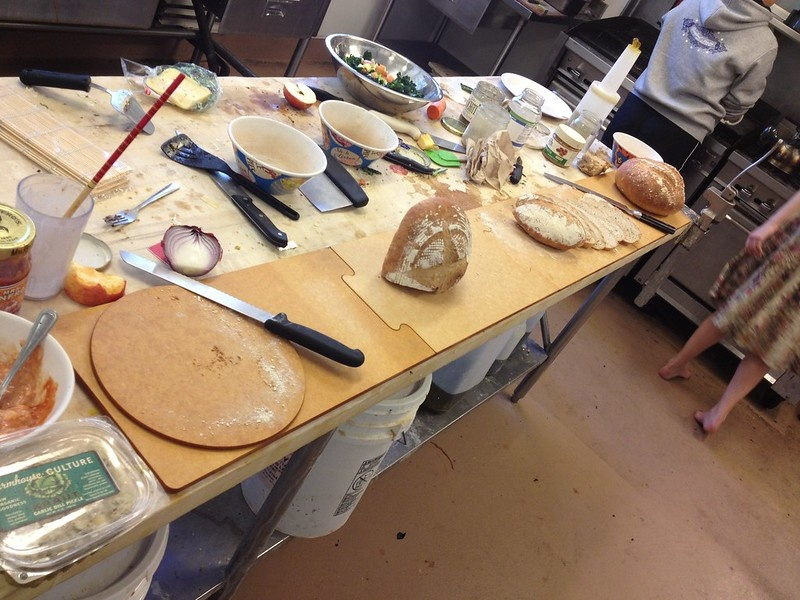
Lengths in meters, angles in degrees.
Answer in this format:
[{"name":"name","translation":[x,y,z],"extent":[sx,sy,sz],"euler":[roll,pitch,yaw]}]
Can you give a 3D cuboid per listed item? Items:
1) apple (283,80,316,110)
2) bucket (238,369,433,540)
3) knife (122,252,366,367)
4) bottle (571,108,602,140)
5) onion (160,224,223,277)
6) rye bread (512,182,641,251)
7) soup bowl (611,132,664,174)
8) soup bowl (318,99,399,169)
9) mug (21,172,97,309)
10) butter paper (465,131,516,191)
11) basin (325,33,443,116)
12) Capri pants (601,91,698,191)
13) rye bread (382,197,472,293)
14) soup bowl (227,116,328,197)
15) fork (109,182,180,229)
[{"name":"apple","translation":[-0.301,-0.597,1.615],"extent":[0.099,0.047,0.102],"euler":[20,35,-17]},{"name":"bucket","translation":[-0.201,0.360,1.483],"extent":[0.343,0.505,0.338],"euler":[24,23,-11]},{"name":"knife","translation":[-0.296,0.024,0.986],"extent":[0.390,0.029,0.057],"euler":[25,30,0]},{"name":"bottle","translation":[0.702,-0.649,2.037],"extent":[0.106,0.078,0.105],"euler":[21,35,-16]},{"name":"onion","translation":[-0.406,-0.080,1.058],"extent":[0.121,0.127,0.091],"euler":[8,67,-30]},{"name":"rye bread","translation":[0.520,-0.206,1.602],"extent":[0.324,0.054,0.247],"euler":[4,37,-37]},{"name":"soup bowl","translation":[0.927,-0.603,2.147],"extent":[0.187,0.114,0.187],"euler":[25,27,-14]},{"name":"soup bowl","translation":[-0.127,-0.418,1.520],"extent":[0.203,0.078,0.201],"euler":[20,39,-17]},{"name":"mug","translation":[-0.552,-0.049,0.903],"extent":[0.092,0.092,0.142],"euler":[19,69,-32]},{"name":"butter paper","translation":[0.280,-0.453,1.725],"extent":[0.186,0.086,0.183],"euler":[12,69,-19]},{"name":"basin","translation":[-0.060,-0.742,1.812],"extent":[0.376,0.122,0.357],"euler":[27,29,-16]},{"name":"Capri pants","translation":[1.378,-0.898,2.945],"extent":[0.550,0.199,0.509],"euler":[20,20,-28]},{"name":"rye bread","translation":[0.071,-0.112,1.201],"extent":[0.171,0.178,0.140],"euler":[27,34,-7]},{"name":"soup bowl","translation":[-0.293,-0.358,1.295],"extent":[0.210,0.087,0.209],"euler":[18,47,-20]},{"name":"fork","translation":[-0.517,-0.202,1.143],"extent":[0.035,0.028,0.205],"euler":[39,46,5]}]
